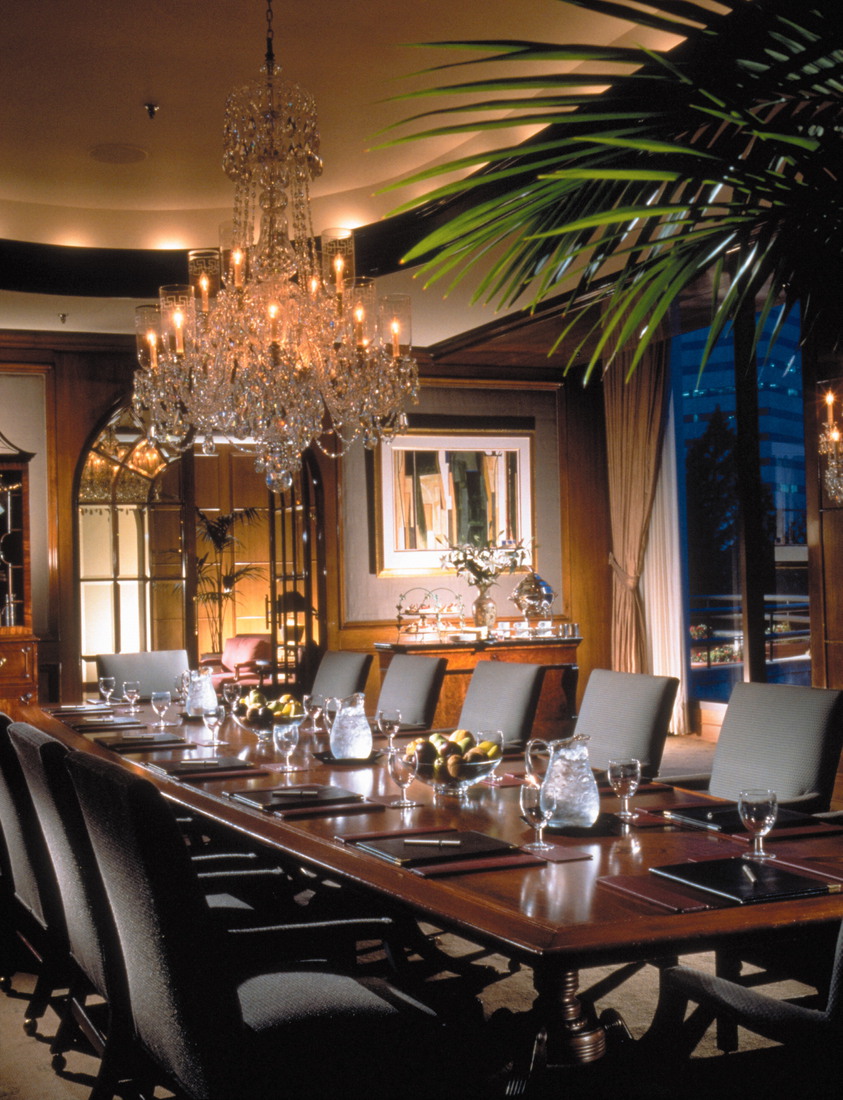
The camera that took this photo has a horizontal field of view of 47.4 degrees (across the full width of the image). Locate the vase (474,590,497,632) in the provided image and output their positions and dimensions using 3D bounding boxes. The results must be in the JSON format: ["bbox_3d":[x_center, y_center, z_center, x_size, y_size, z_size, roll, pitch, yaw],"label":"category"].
[{"bbox_3d":[0.455,0.450,6.915,0.125,0.246,0.215,8,-3,-9],"label":"vase"}]

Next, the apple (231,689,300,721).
[{"bbox_3d":[-0.505,0.545,3.284,0.210,0.091,0.225,1,-1,-29],"label":"apple"}]

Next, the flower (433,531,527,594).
[{"bbox_3d":[0.467,0.093,7.239,0.525,0.345,0.505,0,-2,-24],"label":"flower"}]

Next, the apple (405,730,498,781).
[{"bbox_3d":[0.082,0.516,2.393,0.191,0.099,0.191,0,-7,-4],"label":"apple"}]

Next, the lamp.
[{"bbox_3d":[-0.771,-1.364,5.455,1.915,2.922,1.834,0,5,-1],"label":"lamp"}]

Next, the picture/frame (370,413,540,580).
[{"bbox_3d":[0.221,-0.438,8.079,1.551,1.188,0.102,2,-3,-21],"label":"picture/frame"}]
